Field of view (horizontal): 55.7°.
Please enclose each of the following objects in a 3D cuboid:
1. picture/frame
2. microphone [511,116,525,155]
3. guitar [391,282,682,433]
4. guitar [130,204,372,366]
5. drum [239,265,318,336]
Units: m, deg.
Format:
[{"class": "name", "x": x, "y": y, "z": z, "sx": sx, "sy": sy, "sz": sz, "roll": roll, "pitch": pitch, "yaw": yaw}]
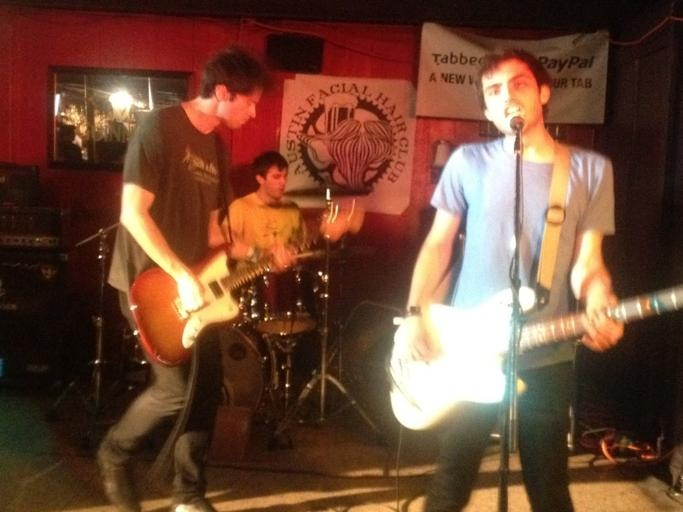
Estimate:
[{"class": "picture/frame", "x": -1.867, "y": -1.154, "z": 5.302, "sx": 1.160, "sy": 0.901, "sz": 0.053, "roll": 1, "pitch": 0, "yaw": -5}, {"class": "microphone", "x": 0.860, "y": -0.589, "z": 3.169, "sx": 0.064, "sy": 0.198, "sz": 0.104, "roll": 0, "pitch": 6, "yaw": 15}, {"class": "guitar", "x": 1.129, "y": 0.577, "z": 3.633, "sx": 1.181, "sy": 0.458, "sz": 0.132, "roll": -15, "pitch": -2, "yaw": 23}, {"class": "guitar", "x": -0.661, "y": 0.216, "z": 4.717, "sx": 1.368, "sy": 0.506, "sz": 0.184, "roll": -30, "pitch": 21, "yaw": -37}, {"class": "drum", "x": -0.520, "y": 0.413, "z": 5.294, "sx": 0.527, "sy": 0.505, "sz": 0.532, "roll": 0, "pitch": -14, "yaw": -19}]
